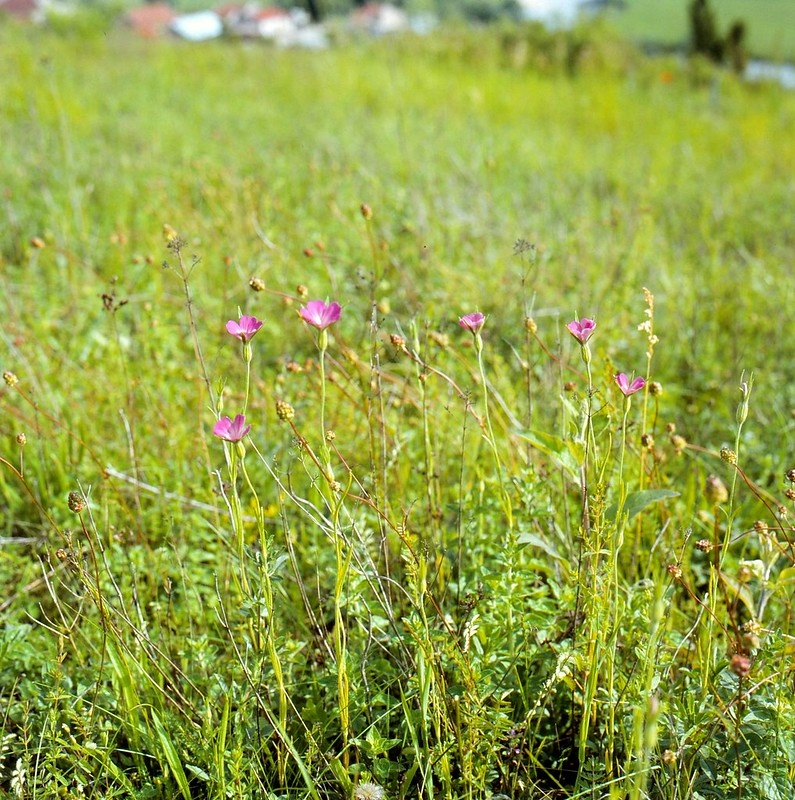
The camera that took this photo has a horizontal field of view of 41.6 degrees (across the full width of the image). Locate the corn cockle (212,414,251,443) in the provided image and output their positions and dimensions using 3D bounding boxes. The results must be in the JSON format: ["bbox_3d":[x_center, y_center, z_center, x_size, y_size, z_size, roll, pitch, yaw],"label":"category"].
[{"bbox_3d":[-0.317,0.043,2.010,0.057,0.068,0.031,-1,-14,1],"label":"corn cockle"}]

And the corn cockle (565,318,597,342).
[{"bbox_3d":[0.386,-0.150,2.214,0.066,0.057,0.074,-7,9,1],"label":"corn cockle"}]

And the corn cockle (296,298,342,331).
[{"bbox_3d":[-0.154,-0.164,2.075,0.064,0.073,0.037,9,-16,-10],"label":"corn cockle"}]
